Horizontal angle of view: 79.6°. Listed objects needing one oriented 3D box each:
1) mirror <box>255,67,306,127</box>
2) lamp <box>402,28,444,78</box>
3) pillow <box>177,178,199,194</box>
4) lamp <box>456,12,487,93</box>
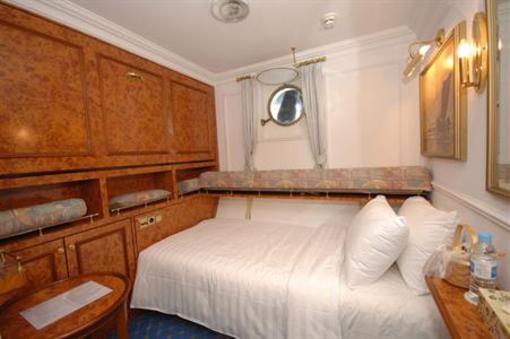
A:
[{"bbox_3d":[0.369,-1.037,4.450,0.821,0.779,0.625,-2,5,21],"label":"mirror"},{"bbox_3d":[1.953,-1.346,3.530,0.471,0.288,0.769,6,-13,27],"label":"lamp"},{"bbox_3d":[-0.965,0.242,4.455,0.140,0.194,0.455,2,6,34],"label":"pillow"},{"bbox_3d":[1.864,-0.987,2.650,0.178,0.652,0.381,0,6,17],"label":"lamp"}]
